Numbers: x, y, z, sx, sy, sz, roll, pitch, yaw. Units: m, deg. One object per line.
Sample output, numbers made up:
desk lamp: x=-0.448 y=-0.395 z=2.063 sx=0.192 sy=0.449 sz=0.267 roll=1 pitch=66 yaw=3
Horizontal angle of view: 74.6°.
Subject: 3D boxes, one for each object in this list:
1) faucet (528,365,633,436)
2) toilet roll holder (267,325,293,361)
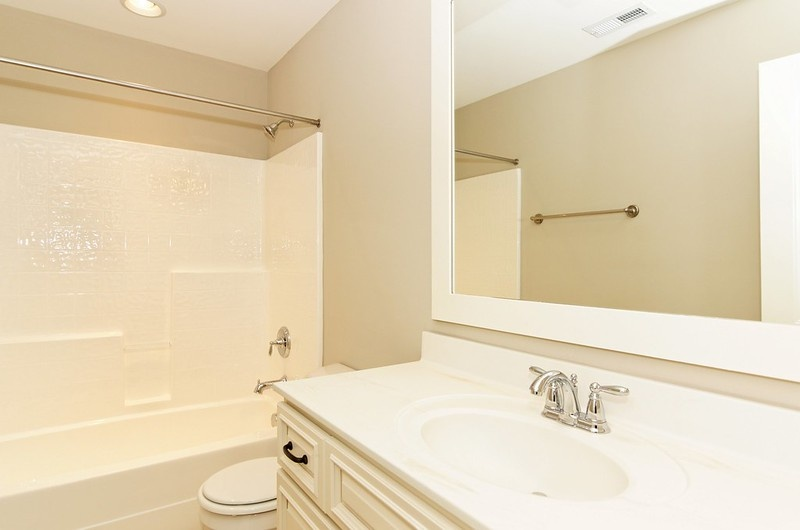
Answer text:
faucet: x=0.525 y=0.413 z=1.606 sx=0.297 sy=0.161 sz=0.208 roll=5 pitch=-3 yaw=30
toilet roll holder: x=-0.731 y=0.477 z=3.215 sx=0.242 sy=0.243 sz=0.126 roll=-5 pitch=-6 yaw=43
